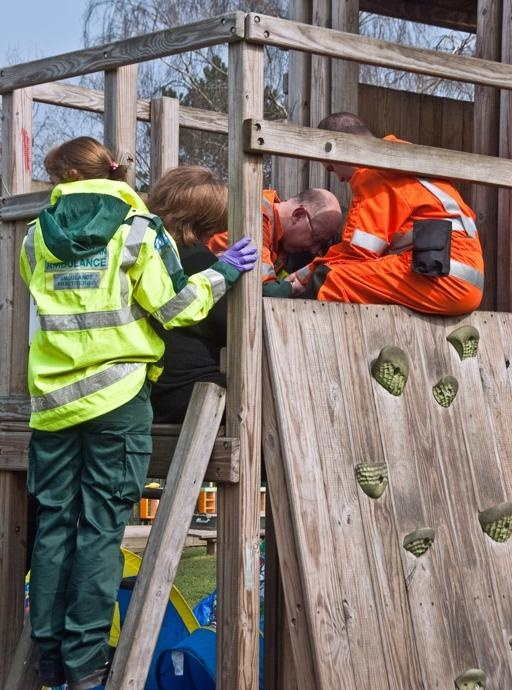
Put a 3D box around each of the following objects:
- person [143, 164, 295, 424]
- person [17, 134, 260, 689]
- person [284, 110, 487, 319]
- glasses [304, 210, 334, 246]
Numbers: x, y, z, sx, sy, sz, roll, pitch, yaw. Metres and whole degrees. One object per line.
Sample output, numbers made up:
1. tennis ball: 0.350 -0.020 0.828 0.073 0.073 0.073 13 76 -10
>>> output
1. person: -0.243 -0.155 4.025 0.490 0.944 0.406 13 -12 15
2. person: -0.444 0.258 3.639 0.597 1.555 0.561 -3 7 -21
3. person: 0.463 -0.483 4.114 0.664 0.753 0.639 3 7 23
4. glasses: 0.245 -0.457 4.608 0.122 0.122 0.097 1 6 27
